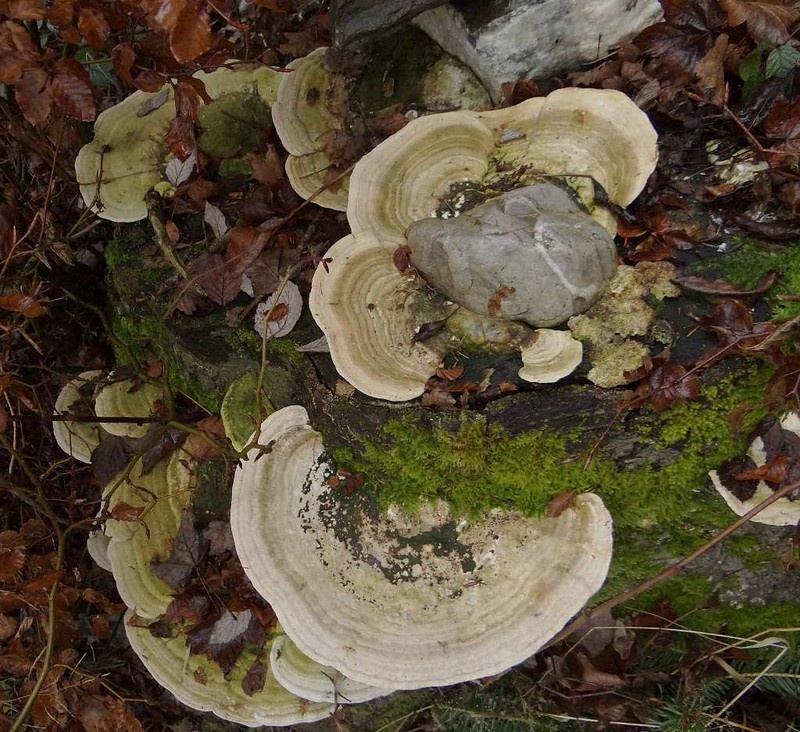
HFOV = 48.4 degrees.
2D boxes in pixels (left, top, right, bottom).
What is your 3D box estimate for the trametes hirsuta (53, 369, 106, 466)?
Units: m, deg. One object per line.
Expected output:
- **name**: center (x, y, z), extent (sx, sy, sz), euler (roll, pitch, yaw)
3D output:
- **trametes hirsuta**: center (-2.181, 0.361, 6.304), extent (0.237, 0.740, 0.596), euler (13, 99, -36)
